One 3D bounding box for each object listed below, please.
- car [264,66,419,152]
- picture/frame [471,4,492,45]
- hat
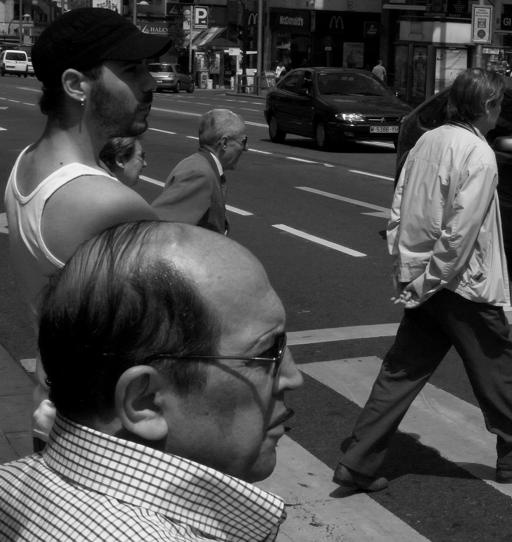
[{"bbox_3d":[1.848,-3.643,19.764,2.213,1.493,3.665,-3,10,-25],"label":"car"},{"bbox_3d":[5.982,-6.484,22.635,0.538,0.956,0.425,4,12,10],"label":"picture/frame"},{"bbox_3d":[-0.349,-0.472,1.910,0.245,0.112,0.168,-14,11,0],"label":"hat"}]
